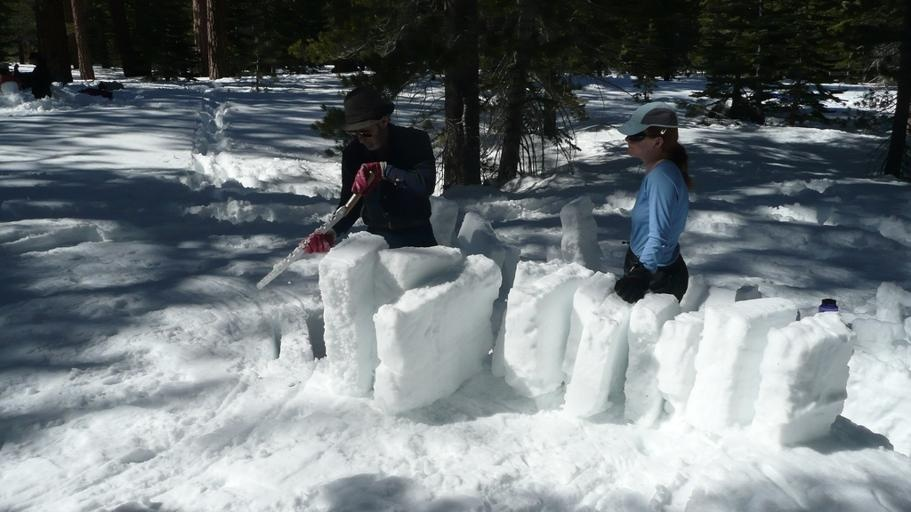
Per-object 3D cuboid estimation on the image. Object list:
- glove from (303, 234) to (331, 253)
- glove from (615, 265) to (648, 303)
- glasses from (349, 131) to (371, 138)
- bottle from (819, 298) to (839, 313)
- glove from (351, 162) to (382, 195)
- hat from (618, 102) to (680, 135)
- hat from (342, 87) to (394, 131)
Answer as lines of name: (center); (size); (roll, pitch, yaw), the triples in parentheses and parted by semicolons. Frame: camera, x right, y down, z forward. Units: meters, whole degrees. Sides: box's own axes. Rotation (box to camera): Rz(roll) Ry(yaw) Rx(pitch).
glove: (-1.464, -0.139, 6.697); (0.259, 0.109, 0.188); (-24, 56, -9)
glove: (1.754, 0.253, 6.025); (0.261, 0.164, 0.397); (35, 66, 29)
glasses: (-1.072, -1.381, 6.998); (0.148, 0.062, 0.294); (-12, 21, -34)
bottle: (4.031, 0.533, 6.720); (0.179, 0.153, 0.171); (-2, 10, 3)
glove: (-0.936, -0.830, 6.649); (0.155, 0.333, 0.345); (33, 3, -14)
hat: (1.966, -1.394, 6.272); (0.563, 0.247, 0.332); (-3, 19, -3)
hat: (-0.949, -1.626, 6.939); (0.560, 0.286, 0.536); (-37, 38, -21)
